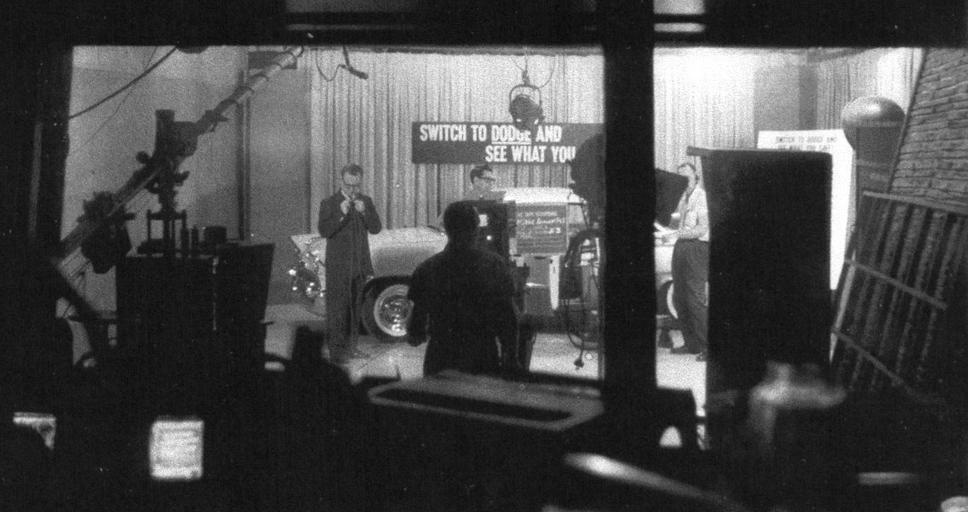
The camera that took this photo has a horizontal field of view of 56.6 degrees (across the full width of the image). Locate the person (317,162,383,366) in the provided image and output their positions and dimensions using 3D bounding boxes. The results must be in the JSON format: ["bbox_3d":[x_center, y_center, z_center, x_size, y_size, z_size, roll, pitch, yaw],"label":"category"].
[{"bbox_3d":[-0.780,-0.026,5.208,0.345,1.000,0.114,0,3,14],"label":"person"}]

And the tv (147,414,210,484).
[{"bbox_3d":[-1.839,1.135,5.441,0.387,0.355,0.258,2,6,1],"label":"tv"}]

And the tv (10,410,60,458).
[{"bbox_3d":[-2.693,1.018,5.352,0.241,0.240,0.073,7,-3,7],"label":"tv"}]
